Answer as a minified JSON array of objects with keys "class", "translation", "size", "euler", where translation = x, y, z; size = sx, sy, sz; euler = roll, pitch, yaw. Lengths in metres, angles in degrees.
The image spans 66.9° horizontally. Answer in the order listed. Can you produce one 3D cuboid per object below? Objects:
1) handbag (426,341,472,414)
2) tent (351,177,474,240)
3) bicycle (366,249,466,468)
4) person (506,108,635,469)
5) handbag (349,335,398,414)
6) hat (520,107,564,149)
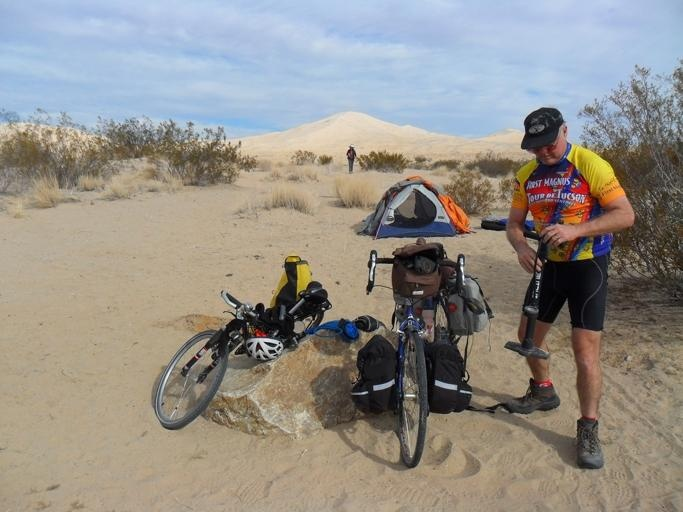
[{"class":"handbag","translation":[0.956,1.124,4.681],"size":[0.409,0.621,0.419],"euler":[3,12,9]},{"class":"tent","translation":[1.697,-1.090,11.760],"size":[2.325,1.321,1.146],"euler":[1,11,1]},{"class":"bicycle","translation":[0.694,0.853,4.773],"size":[0.898,1.967,1.185],"euler":[4,12,15]},{"class":"person","translation":[2.027,0.261,4.744],"size":[0.947,3.098,1.050],"euler":[0,12,-1]},{"class":"handbag","translation":[0.342,1.130,5.134],"size":[0.545,1.017,0.697],"euler":[2,-8,3]},{"class":"hat","translation":[1.712,-1.080,4.396],"size":[0.327,0.345,0.300],"euler":[5,12,20]}]
